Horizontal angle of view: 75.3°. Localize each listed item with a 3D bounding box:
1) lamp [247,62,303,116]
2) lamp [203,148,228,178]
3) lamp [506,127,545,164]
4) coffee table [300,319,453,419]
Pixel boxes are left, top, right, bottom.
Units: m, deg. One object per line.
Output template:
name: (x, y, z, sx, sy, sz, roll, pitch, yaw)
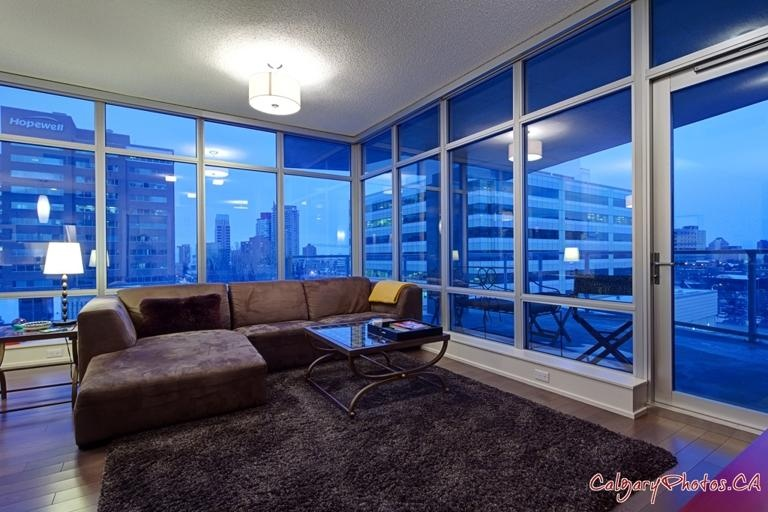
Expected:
lamp: (-1.172, -1.771, 5.504, 0.605, 0.256, 0.546, -1, -4, 0)
lamp: (-2.395, -1.262, 6.938, 0.396, 0.367, 0.371, 2, -4, -26)
lamp: (1.516, -1.171, 5.330, 0.382, 0.351, 0.348, 1, 0, 6)
coffee table: (-0.111, 0.999, 4.905, 1.206, 0.459, 1.268, -5, 5, -39)
